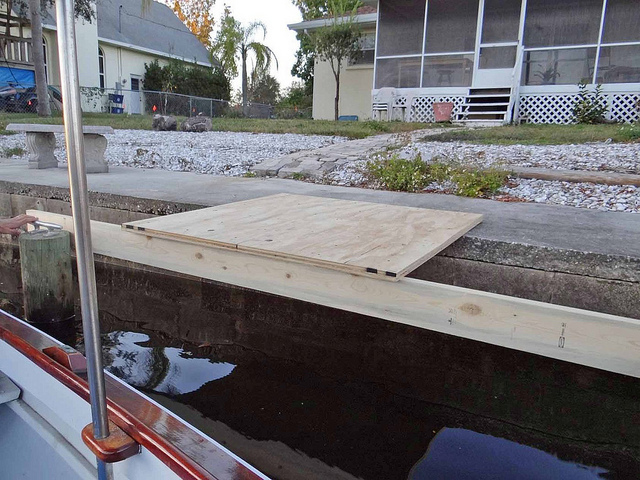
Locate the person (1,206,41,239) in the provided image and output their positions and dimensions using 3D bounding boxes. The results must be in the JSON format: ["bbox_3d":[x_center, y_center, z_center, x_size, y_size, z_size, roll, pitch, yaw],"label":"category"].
[{"bbox_3d":[-2.540,-0.158,3.981,0.213,0.305,0.795,9,2,-43],"label":"person"}]

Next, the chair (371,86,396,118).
[{"bbox_3d":[2.295,-4.847,16.309,0.901,1.236,0.913,7,25,18],"label":"chair"}]

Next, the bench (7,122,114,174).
[{"bbox_3d":[-3.322,-1.200,6.095,1.257,0.599,0.610,7,16,22],"label":"bench"}]
